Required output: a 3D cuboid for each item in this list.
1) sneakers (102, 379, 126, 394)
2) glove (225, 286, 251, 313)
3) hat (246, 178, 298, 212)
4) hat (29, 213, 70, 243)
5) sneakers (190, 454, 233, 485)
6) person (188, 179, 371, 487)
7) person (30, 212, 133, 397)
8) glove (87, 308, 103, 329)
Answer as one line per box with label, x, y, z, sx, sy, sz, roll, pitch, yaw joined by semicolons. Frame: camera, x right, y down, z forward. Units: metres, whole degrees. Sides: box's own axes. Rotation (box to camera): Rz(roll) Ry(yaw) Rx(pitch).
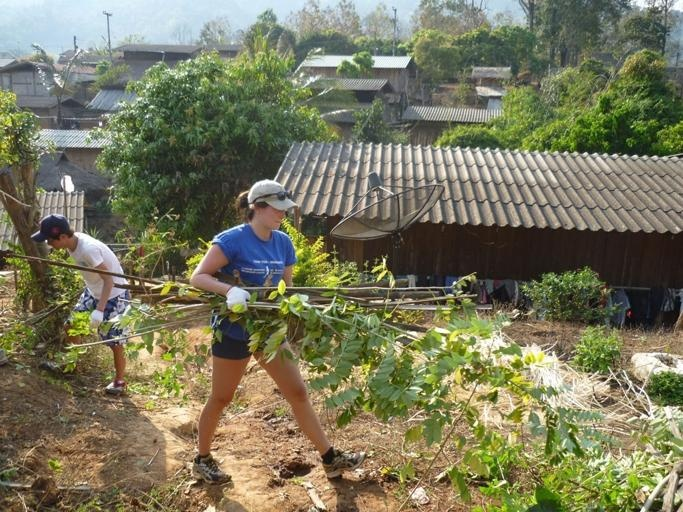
sneakers;-2.574;1.456;7.366;0.247;0.154;0.117;0;26;10
glove;-0.890;0.356;5.574;0.198;0.202;0.184;-3;6;-13
hat;-0.651;-0.541;5.926;0.350;0.240;0.272;7;12;3
hat;-3.094;-0.321;6.923;0.344;0.237;0.246;-6;17;-15
sneakers;-1.233;1.935;6.155;0.429;0.264;0.183;13;19;17
person;-0.733;0.703;5.918;1.306;2.756;0.879;-3;5;-17
person;-2.795;0.491;7.113;0.892;2.143;0.872;6;21;4
glove;-2.488;0.630;6.656;0.168;0.259;0.094;8;-2;29
